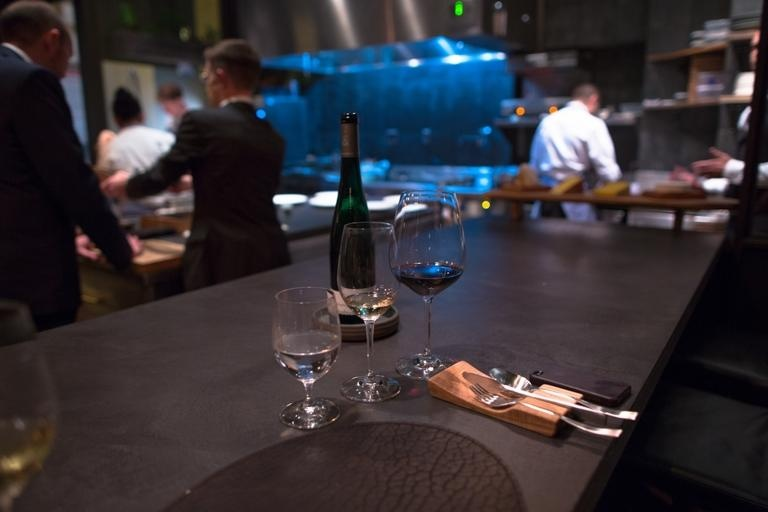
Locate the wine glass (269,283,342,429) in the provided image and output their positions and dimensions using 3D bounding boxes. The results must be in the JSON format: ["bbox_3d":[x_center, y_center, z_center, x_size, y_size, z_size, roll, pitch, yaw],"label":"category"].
[{"bbox_3d":[-0.137,0.166,1.046,0.121,0.202,0.194,-8,21,-9],"label":"wine glass"}]

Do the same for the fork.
[{"bbox_3d":[0.277,0.272,1.010,0.240,0.033,0.033,11,19,32],"label":"fork"}]

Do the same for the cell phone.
[{"bbox_3d":[0.355,0.217,1.062,0.137,0.019,0.071,11,17,36],"label":"cell phone"}]

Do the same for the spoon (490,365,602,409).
[{"bbox_3d":[0.275,0.217,1.032,0.043,0.022,0.157,-19,22,-36],"label":"spoon"}]
